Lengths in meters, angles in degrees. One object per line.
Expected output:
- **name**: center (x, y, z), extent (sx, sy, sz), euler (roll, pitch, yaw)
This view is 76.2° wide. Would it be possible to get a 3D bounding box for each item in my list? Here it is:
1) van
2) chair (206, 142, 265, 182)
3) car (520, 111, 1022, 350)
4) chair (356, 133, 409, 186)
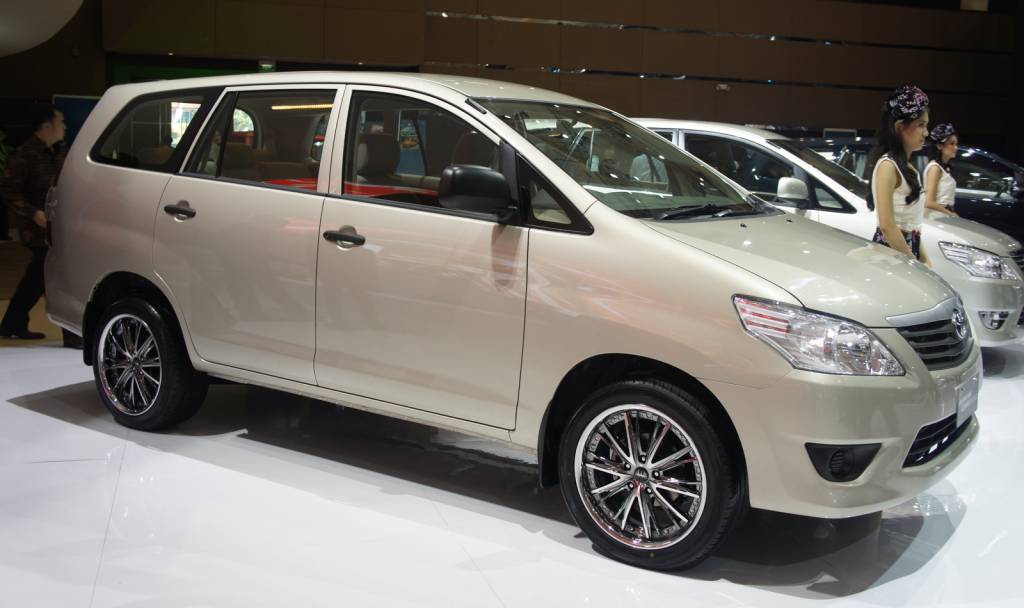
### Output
- **van**: center (-0.249, -0.236, 4.765), extent (5.628, 2.351, 2.777), euler (4, 9, 22)
- **chair**: center (-1.820, -0.910, 4.236), extent (0.266, 0.275, 0.286), euler (3, 3, 18)
- **car**: center (2.180, -0.995, 6.489), extent (5.061, 1.721, 2.183), euler (10, 16, 24)
- **chair**: center (-0.820, -0.887, 3.958), extent (0.316, 0.274, 0.235), euler (3, 2, 13)
